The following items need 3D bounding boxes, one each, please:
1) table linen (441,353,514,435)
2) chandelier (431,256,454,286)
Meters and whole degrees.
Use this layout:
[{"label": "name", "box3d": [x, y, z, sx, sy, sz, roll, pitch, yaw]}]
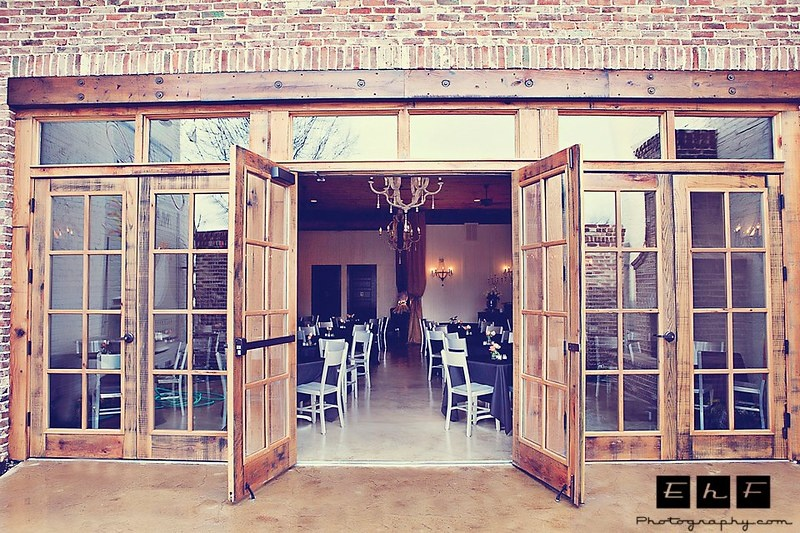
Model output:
[{"label": "table linen", "box3d": [0.975, 1.543, 11.303, 0.929, 1.070, 1.111, 0, -1, -24]}, {"label": "chandelier", "box3d": [1.000, 0.097, 21.285, 0.608, 0.676, 0.584, 0, 0, 2]}]
